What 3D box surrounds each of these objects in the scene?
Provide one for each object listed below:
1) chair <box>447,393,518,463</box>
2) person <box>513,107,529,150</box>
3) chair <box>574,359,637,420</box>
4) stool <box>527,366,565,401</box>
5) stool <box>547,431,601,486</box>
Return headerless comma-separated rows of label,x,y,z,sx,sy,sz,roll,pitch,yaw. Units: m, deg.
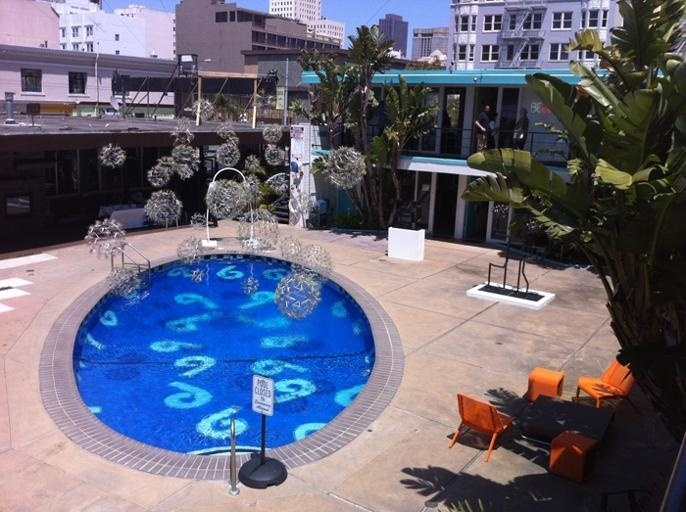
chair,2.494,2.879,9.055,0.785,1.110,1.043,14,22,38
person,7.179,-5.194,20.468,0.479,1.641,1.995,2,13,19
chair,5.329,2.590,10.201,1.002,1.102,0.829,2,7,1
stool,4.025,2.604,10.072,0.615,0.632,0.636,5,1,21
stool,3.751,3.200,8.255,0.629,0.638,0.642,14,11,30
